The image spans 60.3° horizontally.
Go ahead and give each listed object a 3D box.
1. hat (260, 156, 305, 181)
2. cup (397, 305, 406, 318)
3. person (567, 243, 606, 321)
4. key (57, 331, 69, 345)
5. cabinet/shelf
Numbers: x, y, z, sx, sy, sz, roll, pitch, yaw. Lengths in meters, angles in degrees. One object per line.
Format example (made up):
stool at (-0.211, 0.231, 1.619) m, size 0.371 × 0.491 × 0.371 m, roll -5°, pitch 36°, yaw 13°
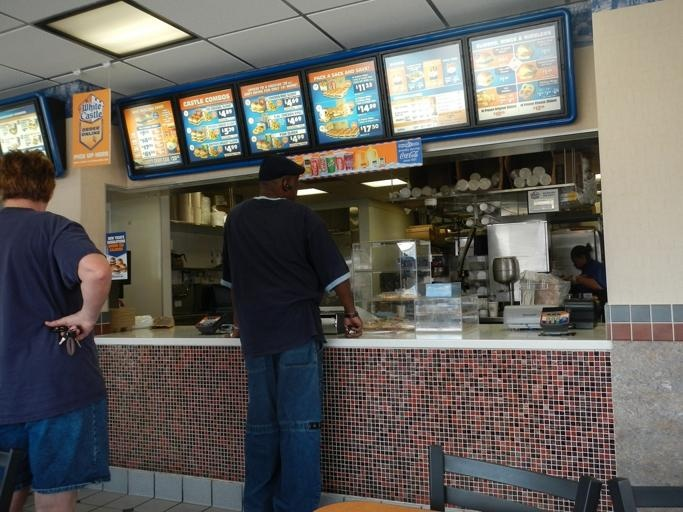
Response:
hat at (-0.364, -0.521, 3.576) m, size 0.215 × 0.099 × 0.150 m, roll -15°, pitch 12°, yaw -9°
cup at (0.400, 0.369, 3.947) m, size 0.055 × 0.083 × 0.026 m, roll -4°, pitch 3°, yaw 13°
person at (2.660, 0.314, 6.348) m, size 0.358 × 0.827 × 1.994 m, roll -4°, pitch 3°, yaw 21°
key at (-1.276, 0.377, 2.710) m, size 0.048 × 0.048 × 0.022 m, roll -2°, pitch 4°, yaw 33°
cabinet/shelf at (1.685, -1.171, 7.574) m, size 2.309 × 0.464 × 0.833 m, roll -8°, pitch 27°, yaw -22°
